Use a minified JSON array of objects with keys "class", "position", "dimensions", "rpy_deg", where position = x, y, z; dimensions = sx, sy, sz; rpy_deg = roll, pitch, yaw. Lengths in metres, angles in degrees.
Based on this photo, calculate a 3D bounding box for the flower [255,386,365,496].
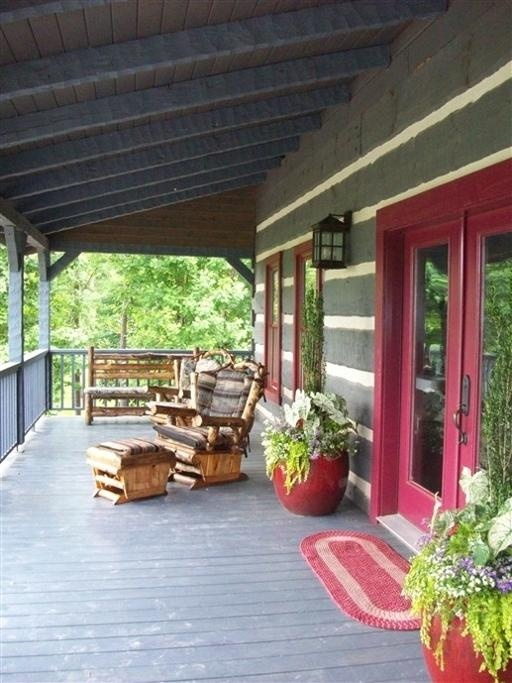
[{"class":"flower","position":[0.400,0.746,3.834],"dimensions":[0.675,0.649,0.685],"rpy_deg":[-16,-5,36]}]

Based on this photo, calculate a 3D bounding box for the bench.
[{"class":"bench","position":[-1.517,0.574,6.822],"dimensions":[1.224,0.702,0.438],"rpy_deg":[0,-2,-22]}]

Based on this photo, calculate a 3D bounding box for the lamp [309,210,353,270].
[{"class":"lamp","position":[0.576,-0.800,4.162],"dimensions":[0.291,0.406,0.235],"rpy_deg":[1,0,-11]}]

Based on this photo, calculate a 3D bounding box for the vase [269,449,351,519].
[{"class":"vase","position":[0.367,1.026,3.848],"dimensions":[0.644,0.432,0.624],"rpy_deg":[0,-9,-9]}]

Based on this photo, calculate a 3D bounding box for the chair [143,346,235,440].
[{"class":"chair","position":[-0.654,0.451,4.996],"dimensions":[0.809,1.011,0.784],"rpy_deg":[2,-2,-22]}]

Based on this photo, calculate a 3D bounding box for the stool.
[{"class":"stool","position":[-0.982,0.983,4.127],"dimensions":[0.560,0.395,0.464],"rpy_deg":[5,-3,-40]}]
